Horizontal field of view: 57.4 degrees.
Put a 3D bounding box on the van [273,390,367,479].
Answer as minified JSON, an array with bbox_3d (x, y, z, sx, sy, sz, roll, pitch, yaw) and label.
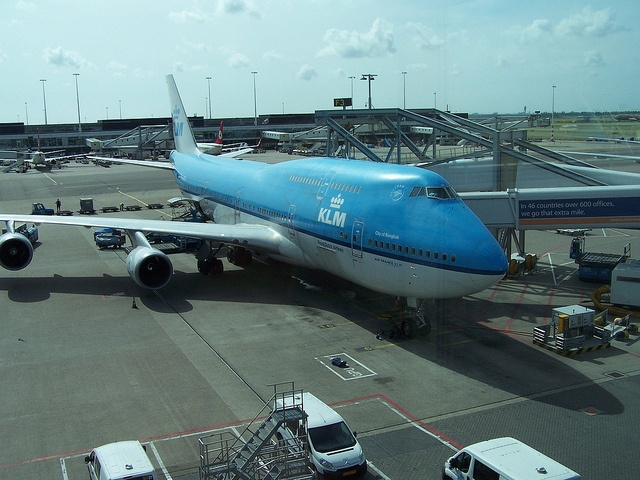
[{"bbox_3d":[0.173,6.667,20.540,2.306,1.252,3.574,-4,5,-22],"label":"van"}]

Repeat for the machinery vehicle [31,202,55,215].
[{"bbox_3d":[-29.775,-3.323,61.806,2.609,1.038,1.566,0,5,22],"label":"machinery vehicle"}]

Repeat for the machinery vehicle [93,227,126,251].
[{"bbox_3d":[-18.023,-0.235,50.105,2.881,1.048,3.878,-1,12,-16],"label":"machinery vehicle"}]
